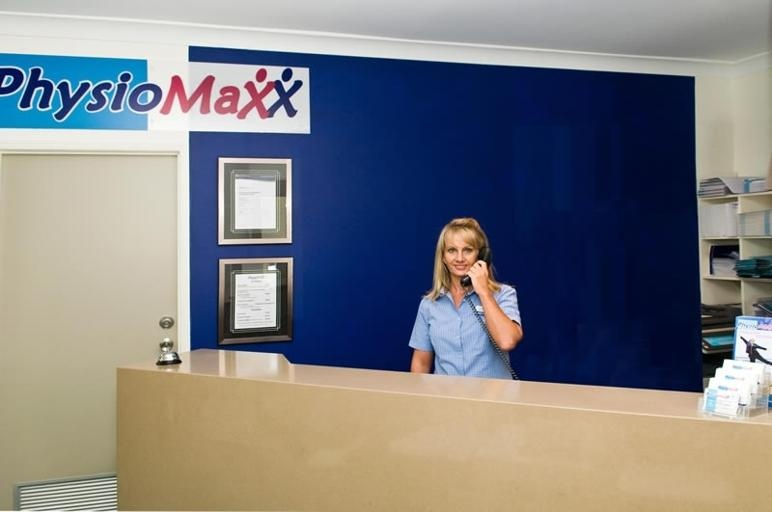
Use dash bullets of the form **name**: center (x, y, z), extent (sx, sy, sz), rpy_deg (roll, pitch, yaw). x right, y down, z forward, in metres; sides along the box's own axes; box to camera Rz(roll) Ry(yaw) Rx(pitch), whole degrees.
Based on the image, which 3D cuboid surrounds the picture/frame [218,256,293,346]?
- **picture/frame**: center (-0.942, 0.325, 4.232), extent (0.640, 0.723, 0.056), rpy_deg (1, 1, -14)

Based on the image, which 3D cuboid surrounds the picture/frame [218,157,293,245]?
- **picture/frame**: center (-0.945, -0.393, 4.236), extent (0.639, 0.725, 0.054), rpy_deg (0, 0, -13)
